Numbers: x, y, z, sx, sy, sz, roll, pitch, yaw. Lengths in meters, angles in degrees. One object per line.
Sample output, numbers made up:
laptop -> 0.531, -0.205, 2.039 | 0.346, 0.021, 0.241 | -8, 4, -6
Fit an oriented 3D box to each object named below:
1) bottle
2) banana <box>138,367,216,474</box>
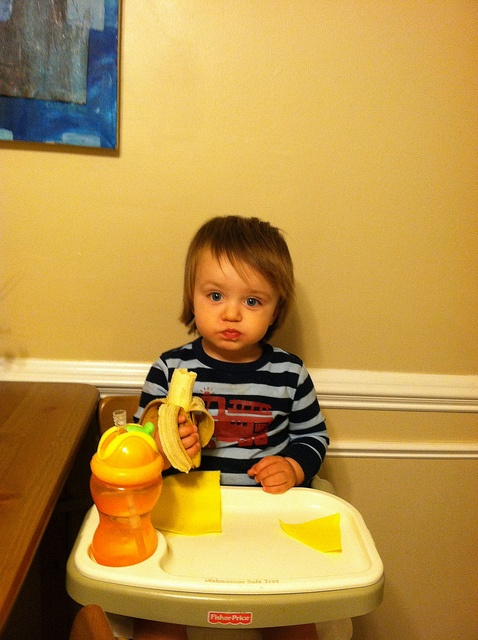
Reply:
bottle -> -0.122, 0.189, 0.546 | 0.077, 0.133, 0.054 | 5, 8, -7
banana -> -0.067, 0.134, 0.634 | 0.050, 0.136, 0.109 | -8, 31, 8
